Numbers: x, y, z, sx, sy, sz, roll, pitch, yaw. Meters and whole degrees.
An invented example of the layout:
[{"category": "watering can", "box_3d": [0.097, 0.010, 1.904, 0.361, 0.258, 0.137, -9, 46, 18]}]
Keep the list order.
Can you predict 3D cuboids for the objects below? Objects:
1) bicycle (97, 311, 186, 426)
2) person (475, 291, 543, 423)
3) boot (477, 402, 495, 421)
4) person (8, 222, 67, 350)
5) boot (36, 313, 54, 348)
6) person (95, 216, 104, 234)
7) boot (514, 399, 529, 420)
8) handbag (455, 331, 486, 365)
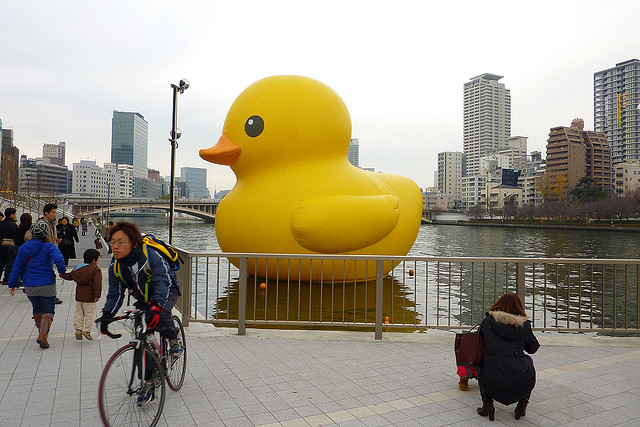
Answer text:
[{"category": "bicycle", "box_3d": [-2.372, 2.107, 7.487, 0.659, 1.529, 1.289, 1, -2, 31]}, {"category": "person", "box_3d": [2.634, 2.051, 7.705, 0.795, 1.782, 0.336, 1, -2, 22]}, {"category": "boot", "box_3d": [2.349, 2.785, 7.636, 0.302, 0.226, 0.134, 4, 8, 42]}, {"category": "person", "box_3d": [-4.927, 1.264, 9.533, 0.857, 2.148, 0.566, 1, -2, 11]}, {"category": "boot", "box_3d": [-4.746, 2.032, 9.377, 0.219, 0.581, 0.274, 2, -2, -17]}, {"category": "person", "box_3d": [-18.921, 1.036, 46.623, 0.510, 0.512, 1.557, 16, 6, -40]}, {"category": "boot", "box_3d": [2.812, 2.753, 7.614, 0.115, 0.178, 0.341, 3, 3, 16]}, {"category": "handbag", "box_3d": [2.142, 1.939, 7.767, 0.494, 0.488, 0.347, 0, -3, 4]}]
